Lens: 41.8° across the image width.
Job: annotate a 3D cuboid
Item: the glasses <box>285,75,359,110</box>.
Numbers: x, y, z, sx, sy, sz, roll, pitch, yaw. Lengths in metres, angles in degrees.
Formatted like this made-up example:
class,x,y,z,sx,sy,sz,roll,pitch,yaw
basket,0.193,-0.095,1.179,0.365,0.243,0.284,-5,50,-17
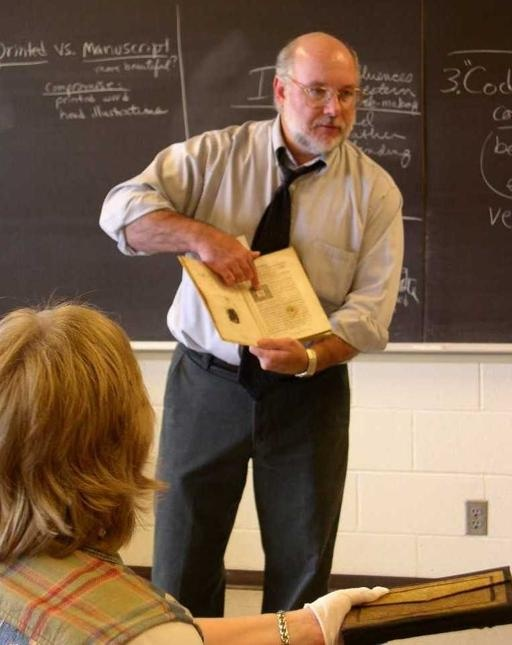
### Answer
class,x,y,z,sx,sy,sz,roll,pitch,yaw
glasses,0.137,-0.485,1.382,0.091,0.025,0.088,-5,25,-27

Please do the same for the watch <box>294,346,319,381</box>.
class,x,y,z,sx,sy,sz,roll,pitch,yaw
watch,0.096,0.075,1.304,0.024,0.052,0.047,6,-14,-6

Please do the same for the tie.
class,x,y,z,sx,sy,sz,roll,pitch,yaw
tie,0.030,-0.090,1.336,0.167,0.506,0.030,7,-8,1

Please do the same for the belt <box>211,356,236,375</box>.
class,x,y,z,sx,sy,sz,roll,pitch,yaw
belt,-0.069,0.091,1.422,0.056,0.012,0.030,19,10,18

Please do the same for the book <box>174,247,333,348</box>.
class,x,y,z,sx,sy,sz,roll,pitch,yaw
book,0.004,-0.045,1.292,0.254,0.193,0.055,3,-37,-37
